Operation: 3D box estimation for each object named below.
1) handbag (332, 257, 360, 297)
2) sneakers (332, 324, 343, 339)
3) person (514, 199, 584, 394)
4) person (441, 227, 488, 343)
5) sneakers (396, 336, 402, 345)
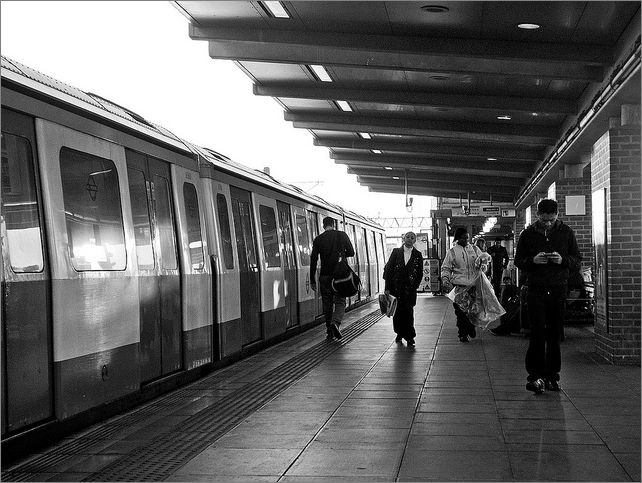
[{"bbox_3d":[0.545,0.855,12.832,0.529,1.051,0.771,-8,5,10],"label":"handbag"},{"bbox_3d":[0.383,2.118,12.658,0.145,0.413,0.157,-15,4,0],"label":"sneakers"},{"bbox_3d":[3.031,0.709,7.299,0.767,2.470,0.523,-4,-2,10],"label":"person"},{"bbox_3d":[3.152,0.952,12.068,0.853,2.250,1.222,-4,-2,30],"label":"person"},{"bbox_3d":[1.719,2.141,12.056,0.148,0.153,0.114,0,3,6],"label":"sneakers"}]
